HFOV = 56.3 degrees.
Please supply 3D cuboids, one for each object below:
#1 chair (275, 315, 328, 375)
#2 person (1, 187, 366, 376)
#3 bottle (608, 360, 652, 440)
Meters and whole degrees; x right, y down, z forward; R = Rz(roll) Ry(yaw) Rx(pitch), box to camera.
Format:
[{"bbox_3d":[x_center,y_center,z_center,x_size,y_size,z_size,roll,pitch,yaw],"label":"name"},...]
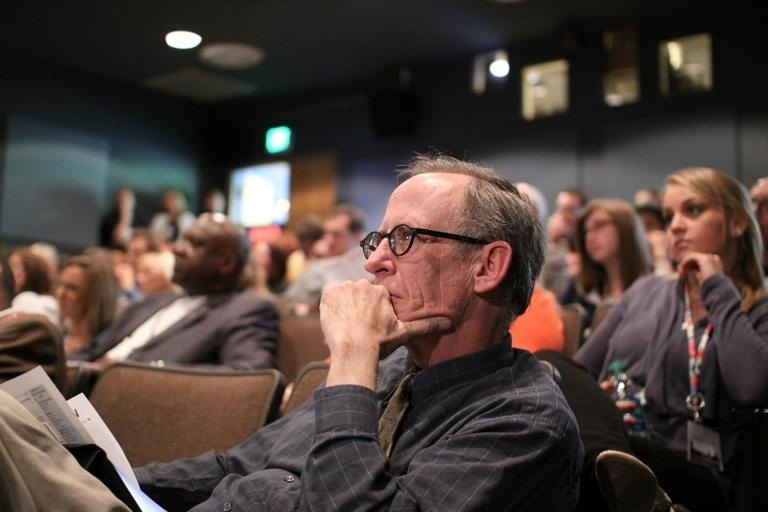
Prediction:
[{"bbox_3d":[-0.393,0.432,3.404,0.338,0.359,0.189,-1,-1,2],"label":"chair"},{"bbox_3d":[-0.883,0.270,3.434,1.106,0.883,0.668,-3,-16,33],"label":"person"},{"bbox_3d":[0.985,0.581,2.855,0.124,0.304,0.120,-8,-40,-6],"label":"bottle"}]
